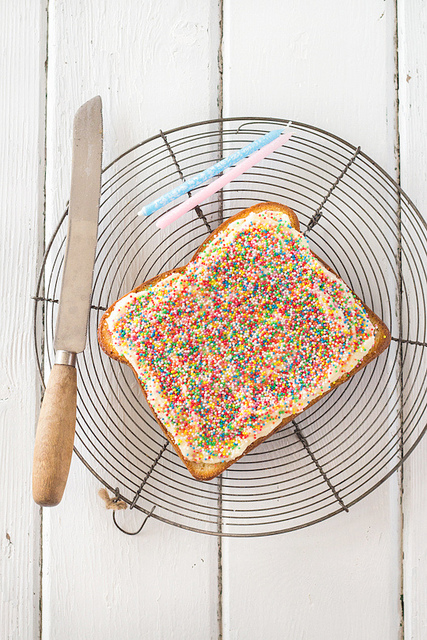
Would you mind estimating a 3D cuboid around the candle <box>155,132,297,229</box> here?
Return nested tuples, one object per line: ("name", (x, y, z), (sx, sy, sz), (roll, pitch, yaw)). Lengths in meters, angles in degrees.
("candle", (0.018, -0.249, 1.621), (0.274, 0.024, 0.021), (-41, 0, -18))

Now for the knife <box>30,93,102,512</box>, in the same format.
("knife", (-0.240, -0.037, 1.493), (0.085, 0.798, 0.063), (3, 0, -15))

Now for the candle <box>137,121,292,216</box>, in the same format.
("candle", (-0.004, -0.274, 1.630), (0.287, 0.024, 0.024), (-37, -27, -18))

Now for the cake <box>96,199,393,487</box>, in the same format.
("cake", (0.053, 0.030, 1.498), (0.424, 0.420, 0.113), (-42, 0, 0))

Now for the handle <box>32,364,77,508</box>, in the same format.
("handle", (-0.257, 0.184, 1.466), (0.071, 0.199, 0.100), (0, -37, -13))
